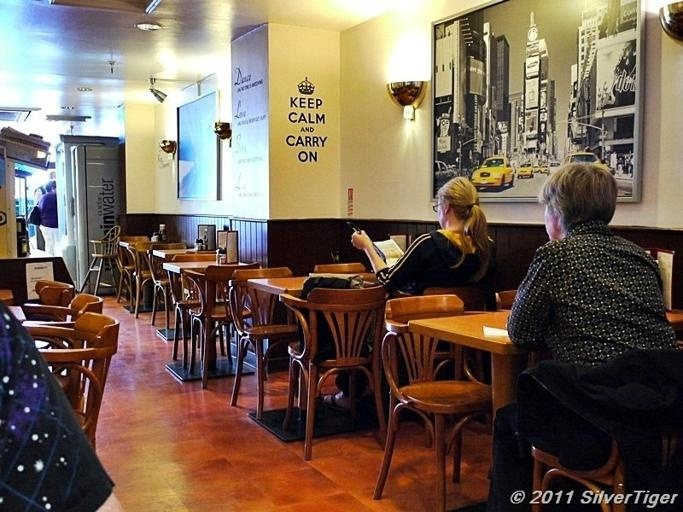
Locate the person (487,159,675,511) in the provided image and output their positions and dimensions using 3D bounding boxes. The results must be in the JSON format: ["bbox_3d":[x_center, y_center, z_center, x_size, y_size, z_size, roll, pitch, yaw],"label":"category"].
[{"bbox_3d":[0.932,0.332,2.329,0.681,1.383,0.479,1,6,14],"label":"person"}]

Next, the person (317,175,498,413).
[{"bbox_3d":[0.497,0.245,4.666,0.807,1.748,1.384,-2,14,-37],"label":"person"}]

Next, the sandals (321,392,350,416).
[{"bbox_3d":[-0.027,1.147,4.688,0.096,0.073,0.268,3,1,-27],"label":"sandals"}]

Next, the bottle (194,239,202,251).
[{"bbox_3d":[-1.813,-0.140,7.649,0.109,0.163,0.116,0,0,0],"label":"bottle"}]

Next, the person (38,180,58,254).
[{"bbox_3d":[-6.547,-0.826,13.524,0.390,1.636,3.415,-3,6,-25],"label":"person"}]

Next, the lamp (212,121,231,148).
[{"bbox_3d":[-1.489,-1.526,7.591,0.193,0.292,0.666,-2,5,-14],"label":"lamp"}]

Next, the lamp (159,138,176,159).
[{"bbox_3d":[-2.742,-1.743,9.762,0.143,0.251,0.386,-7,11,-39],"label":"lamp"}]

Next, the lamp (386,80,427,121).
[{"bbox_3d":[0.591,-1.337,5.307,0.354,0.381,0.327,-15,19,-34],"label":"lamp"}]
